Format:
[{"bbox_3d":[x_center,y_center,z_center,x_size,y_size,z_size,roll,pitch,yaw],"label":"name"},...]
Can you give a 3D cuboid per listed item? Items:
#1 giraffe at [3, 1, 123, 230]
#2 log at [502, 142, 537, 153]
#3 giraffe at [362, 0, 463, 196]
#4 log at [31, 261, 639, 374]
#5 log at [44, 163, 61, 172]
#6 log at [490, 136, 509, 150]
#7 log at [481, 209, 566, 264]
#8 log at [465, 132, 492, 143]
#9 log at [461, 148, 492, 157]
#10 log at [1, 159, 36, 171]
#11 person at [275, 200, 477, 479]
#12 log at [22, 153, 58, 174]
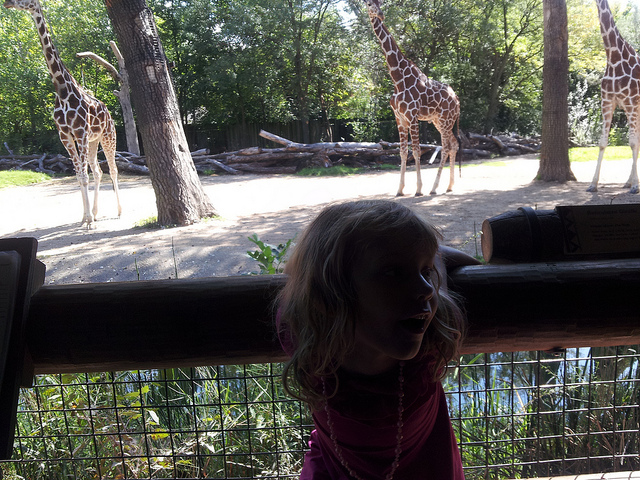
[{"bbox_3d":[-3.620,-1.877,10.064,1.149,3.139,2.474,-4,10,-9],"label":"giraffe"},{"bbox_3d":[5.482,-2.534,18.782,0.885,0.272,0.322,1,11,21],"label":"log"},{"bbox_3d":[1.610,-2.480,11.502,1.467,3.221,2.471,-1,10,11],"label":"giraffe"},{"bbox_3d":[0.094,0.281,2.449,2.188,0.405,0.424,2,-13,-11],"label":"log"},{"bbox_3d":[-7.461,-2.023,19.201,0.321,0.110,0.348,4,38,-8],"label":"log"},{"bbox_3d":[4.935,-2.660,18.852,0.182,0.149,0.836,-6,38,-14],"label":"log"},{"bbox_3d":[0.775,-0.006,2.616,0.240,0.209,0.263,-2,-25,9],"label":"log"},{"bbox_3d":[4.515,-2.868,19.322,0.641,0.267,0.546,0,11,15],"label":"log"},{"bbox_3d":[4.249,-2.340,18.526,0.877,0.232,0.359,-8,11,-23],"label":"log"},{"bbox_3d":[-8.680,-2.135,19.613,0.566,0.210,0.726,0,0,38],"label":"log"},{"bbox_3d":[0.185,0.373,2.450,0.665,1.016,0.333,-2,9,5],"label":"person"},{"bbox_3d":[-7.689,-2.047,18.988,0.559,0.154,1.342,-11,20,-22],"label":"log"}]
